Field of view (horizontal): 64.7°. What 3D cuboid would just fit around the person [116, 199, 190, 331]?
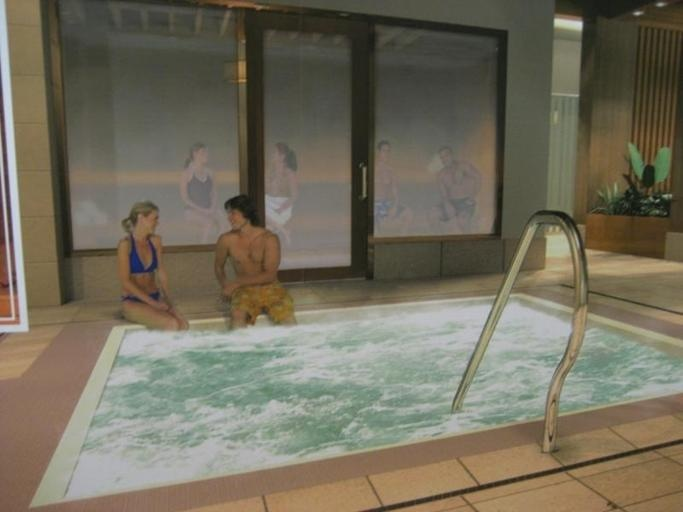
[{"bbox_3d":[-1.600,0.082,4.434,0.440,1.019,0.450,-11,16,-27],"label":"person"}]

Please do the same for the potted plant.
[{"bbox_3d":[4.649,-0.487,8.890,1.276,0.708,1.221,-4,8,-44],"label":"potted plant"}]
